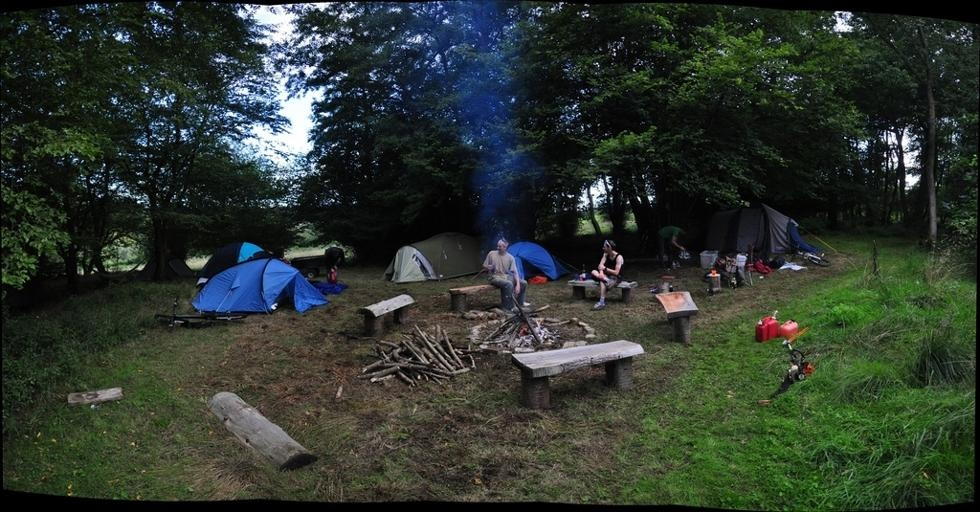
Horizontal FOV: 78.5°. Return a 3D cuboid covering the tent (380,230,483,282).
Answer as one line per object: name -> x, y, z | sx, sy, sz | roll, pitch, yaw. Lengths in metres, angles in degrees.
tent -> -2.283, -0.037, 25.891 | 2.610, 1.025, 3.453 | 3, 4, 44

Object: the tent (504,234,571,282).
tent -> 1.699, 0.137, 24.594 | 2.027, 0.702, 1.866 | 8, 14, 35

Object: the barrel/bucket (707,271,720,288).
barrel/bucket -> 7.756, 0.853, 20.835 | 0.628, 0.544, 0.590 | 0, 5, 0

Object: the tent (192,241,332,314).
tent -> -8.558, 1.089, 21.165 | 4.154, 1.488, 3.201 | 5, 7, 10

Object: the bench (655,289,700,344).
bench -> 5.930, 1.885, 18.788 | 1.262, 0.945, 1.985 | -3, 15, 11

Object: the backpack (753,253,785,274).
backpack -> 10.779, 0.304, 23.325 | 0.970, 0.397, 1.228 | 0, 2, 37
